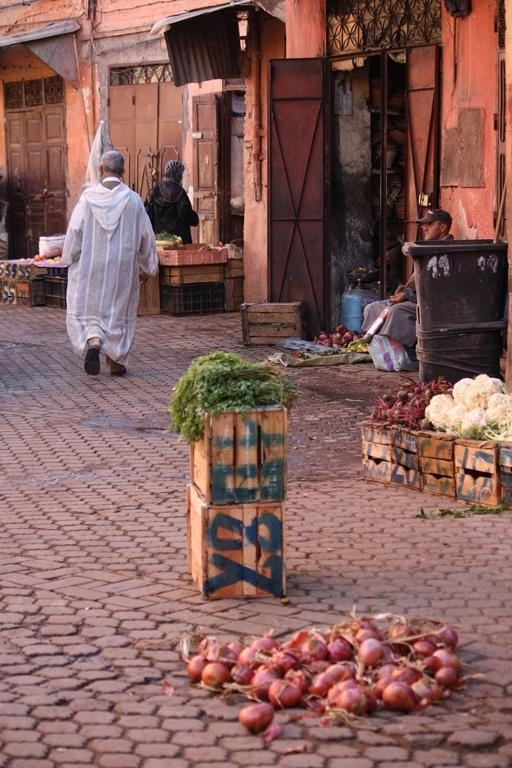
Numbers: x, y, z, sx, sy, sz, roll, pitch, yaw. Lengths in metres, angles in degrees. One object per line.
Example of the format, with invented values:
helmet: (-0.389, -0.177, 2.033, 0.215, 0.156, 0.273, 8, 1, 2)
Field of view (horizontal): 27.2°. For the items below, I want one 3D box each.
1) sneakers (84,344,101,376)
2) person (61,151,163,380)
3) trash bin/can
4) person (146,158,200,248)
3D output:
sneakers: (-1.530, -0.227, 9.982, 0.143, 0.291, 0.274, -2, 4, -12)
person: (-1.405, -1.155, 10.208, 0.777, 2.225, 0.770, -8, 20, -34)
trash bin/can: (1.696, -0.570, 8.108, 0.912, 1.464, 0.901, -3, 4, -5)
person: (-1.259, -2.689, 15.822, 0.623, 1.414, 0.585, -5, 18, -14)
